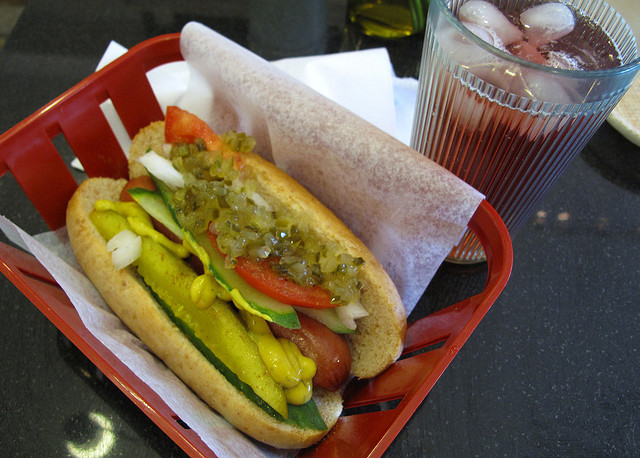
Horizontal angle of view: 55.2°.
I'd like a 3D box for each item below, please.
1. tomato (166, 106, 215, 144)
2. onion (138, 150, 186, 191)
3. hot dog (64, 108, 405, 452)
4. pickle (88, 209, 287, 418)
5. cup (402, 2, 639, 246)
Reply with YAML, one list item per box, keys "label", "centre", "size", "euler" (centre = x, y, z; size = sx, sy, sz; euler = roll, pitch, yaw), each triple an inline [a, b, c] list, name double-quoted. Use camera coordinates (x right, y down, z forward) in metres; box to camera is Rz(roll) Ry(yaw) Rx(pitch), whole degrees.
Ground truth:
- label: "tomato"
  centre: [-0.296, -0.246, 1.453]
  size: [0.080, 0.094, 0.113]
  euler: [-14, 27, -28]
- label: "onion"
  centre: [-0.361, -0.140, 1.405]
  size: [0.075, 0.094, 0.088]
  euler: [-11, 25, -34]
- label: "hot dog"
  centre: [-0.204, 0.142, 1.544]
  size: [0.522, 0.329, 0.858]
  euler: [-42, 81, -7]
- label: "pickle"
  centre: [-0.274, 0.198, 1.319]
  size: [0.098, 0.090, 0.493]
  euler: [-40, 82, -14]
- label: "cup"
  centre: [0.355, -0.339, 1.507]
  size: [0.454, 0.585, 0.541]
  euler: [0, 47, 3]
